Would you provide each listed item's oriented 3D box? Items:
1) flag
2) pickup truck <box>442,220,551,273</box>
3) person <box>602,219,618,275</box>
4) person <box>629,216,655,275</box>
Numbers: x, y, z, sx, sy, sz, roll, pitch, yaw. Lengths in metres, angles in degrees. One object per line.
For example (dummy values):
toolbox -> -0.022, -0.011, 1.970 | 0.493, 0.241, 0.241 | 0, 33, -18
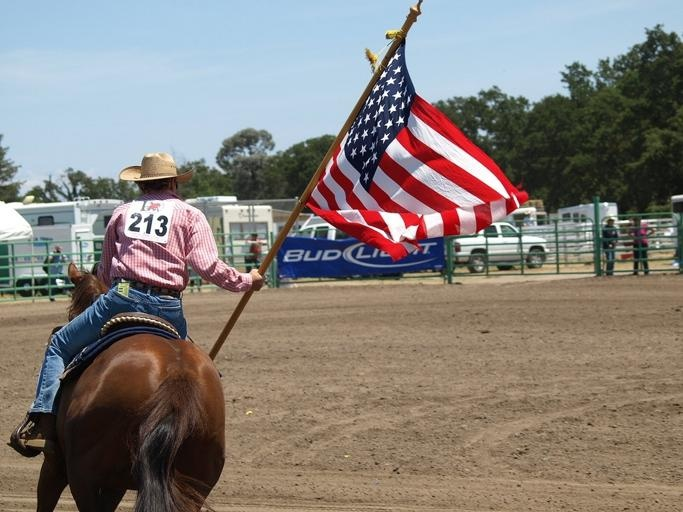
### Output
flag -> 0.968, -1.499, 17.267 | 2.768, 3.029, 0.403 | -1, 1, -8
pickup truck -> 4.492, -0.098, 33.708 | 3.228, 1.360, 1.558 | -4, 5, -16
person -> 7.056, -0.212, 31.255 | 0.405, 1.507, 1.194 | -1, 1, 12
person -> 7.930, -0.261, 31.563 | 0.424, 1.524, 1.859 | -1, 1, 13
